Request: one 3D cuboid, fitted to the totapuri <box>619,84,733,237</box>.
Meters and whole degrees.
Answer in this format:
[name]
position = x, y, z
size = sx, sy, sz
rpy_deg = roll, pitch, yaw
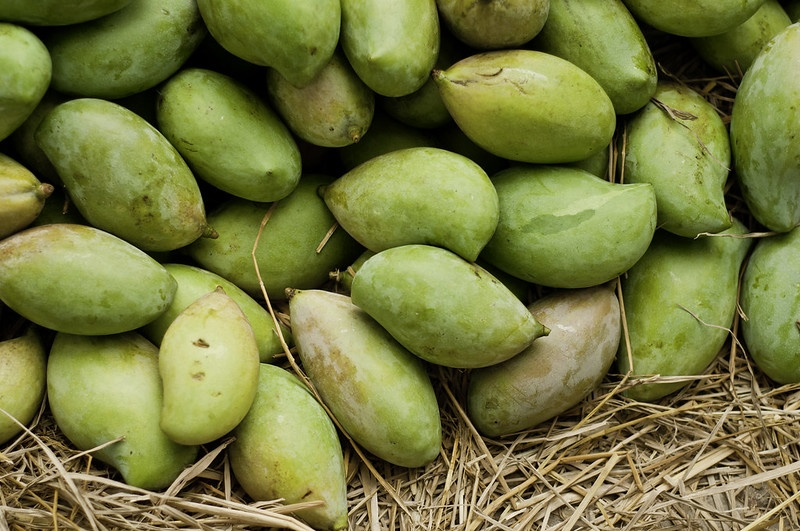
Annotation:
[totapuri]
position = 0.519, -0.199, 1.642
size = 0.196, 0.159, 0.283
rpy_deg = -20, 87, -23
